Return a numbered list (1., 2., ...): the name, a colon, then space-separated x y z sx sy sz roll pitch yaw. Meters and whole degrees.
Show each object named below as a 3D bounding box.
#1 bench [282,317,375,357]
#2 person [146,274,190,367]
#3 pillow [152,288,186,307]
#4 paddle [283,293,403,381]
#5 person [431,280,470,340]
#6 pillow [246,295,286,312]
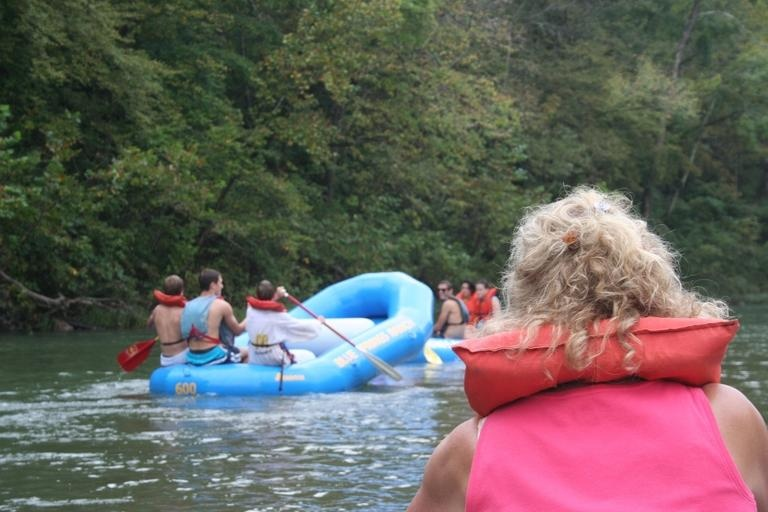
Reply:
1. bench: -1.428 2.443 38.749 1.435 1.373 3.014 -1 -1 -44
2. person: -5.718 1.752 37.883 0.898 2.564 0.971 1 -2 -2
3. pillow: -5.661 1.153 37.513 0.617 0.291 0.527 17 1 27
4. paddle: -1.087 2.283 38.339 0.388 3.244 0.149 -41 -16 -31
5. person: 1.900 1.615 40.661 0.803 1.820 0.901 -1 0 -28
6. pillow: -3.093 1.308 37.487 1.033 0.249 0.313 8 2 -8
